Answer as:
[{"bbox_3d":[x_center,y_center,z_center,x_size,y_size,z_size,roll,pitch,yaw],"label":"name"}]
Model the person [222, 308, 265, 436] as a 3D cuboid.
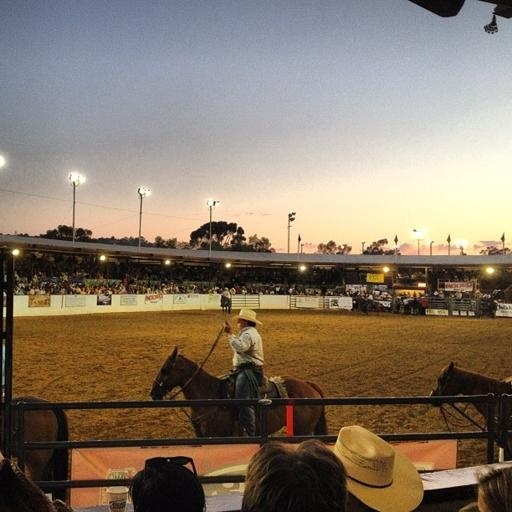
[{"bbox_3d":[-0.146,1.411,7.171,0.487,1.481,1.475,-1,-1,-1],"label":"person"}]
